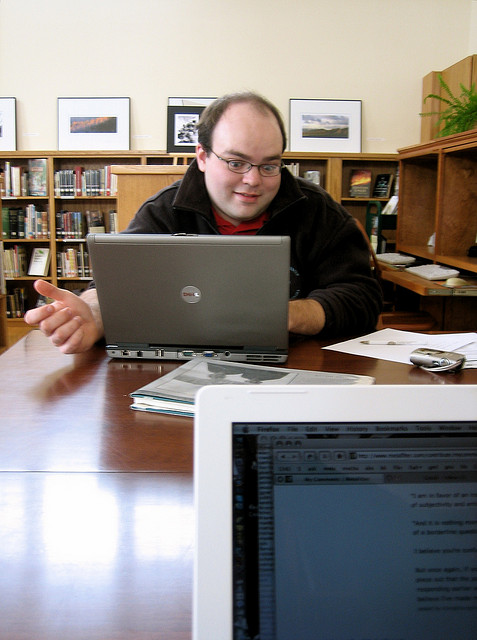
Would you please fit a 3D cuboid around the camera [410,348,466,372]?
[{"bbox_3d":[0.350,0.071,0.960,0.068,0.024,0.047,2,16,30],"label":"camera"}]

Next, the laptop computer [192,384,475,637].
[{"bbox_3d":[0.061,0.123,0.335,0.173,0.152,0.008,1,-11,-1],"label":"laptop computer"}]

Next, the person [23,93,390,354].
[{"bbox_3d":[-0.047,-0.270,1.559,0.968,0.629,0.546,-4,28,-14],"label":"person"}]

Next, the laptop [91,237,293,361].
[{"bbox_3d":[-0.065,-0.072,1.121,0.369,0.233,0.244,1,17,10],"label":"laptop"}]

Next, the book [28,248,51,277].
[{"bbox_3d":[-1.528,-0.456,4.282,0.218,0.198,0.049,5,-10,24],"label":"book"}]

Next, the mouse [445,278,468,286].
[{"bbox_3d":[0.988,-0.173,2.483,0.080,0.030,0.074,9,15,41],"label":"mouse"}]
